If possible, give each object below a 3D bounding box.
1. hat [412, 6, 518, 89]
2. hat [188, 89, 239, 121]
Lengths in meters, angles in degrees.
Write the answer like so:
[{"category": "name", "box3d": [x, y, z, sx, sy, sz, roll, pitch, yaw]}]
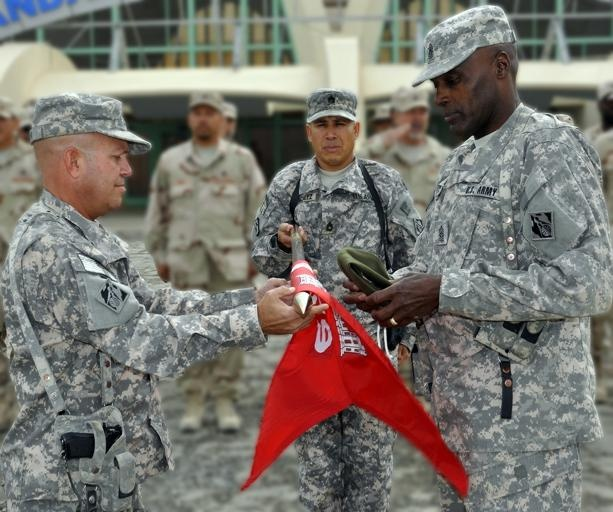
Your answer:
[{"category": "hat", "box3d": [0.803, -1.102, 7.466, 0.517, 0.259, 0.354, -22, 1, 2]}, {"category": "hat", "box3d": [-0.654, -1.103, 10.241, 0.380, 0.200, 0.666, 4, 0, 8]}]
